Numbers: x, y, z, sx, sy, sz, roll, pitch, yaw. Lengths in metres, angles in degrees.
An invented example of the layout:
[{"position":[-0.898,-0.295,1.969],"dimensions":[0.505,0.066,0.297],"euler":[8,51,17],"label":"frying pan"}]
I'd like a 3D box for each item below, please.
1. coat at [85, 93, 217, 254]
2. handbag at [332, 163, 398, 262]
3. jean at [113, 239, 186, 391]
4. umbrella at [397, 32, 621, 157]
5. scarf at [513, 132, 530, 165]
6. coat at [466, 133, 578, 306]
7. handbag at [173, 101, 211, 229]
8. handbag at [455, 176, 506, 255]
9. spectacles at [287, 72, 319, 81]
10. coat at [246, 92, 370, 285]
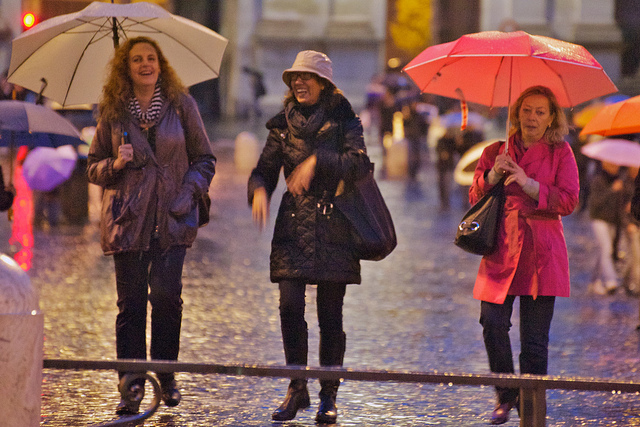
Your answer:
[{"position":[-1.547,-0.363,12.729],"dimensions":[1.254,1.409,0.773],"euler":[2,7,-7],"label":"coat"},{"position":[0.394,0.053,12.512],"dimensions":[0.543,0.694,0.189],"euler":[1,2,-19],"label":"handbag"},{"position":[-1.533,0.748,12.524],"dimensions":[0.627,1.050,0.259],"euler":[2,1,-8],"label":"jean"},{"position":[1.677,-1.275,12.508],"dimensions":[1.405,0.752,1.382],"euler":[15,-7,8],"label":"umbrella"},{"position":[1.753,-0.578,12.541],"dimensions":[0.090,0.219,0.161],"euler":[-6,7,-19],"label":"scarf"},{"position":[1.720,0.052,12.778],"dimensions":[0.990,1.397,1.226],"euler":[1,-1,1],"label":"coat"},{"position":[-1.137,-0.408,12.882],"dimensions":[0.112,1.157,0.476],"euler":[-8,10,-19],"label":"handbag"},{"position":[1.326,0.005,12.566],"dimensions":[0.367,0.719,0.562],"euler":[0,-2,-1],"label":"handbag"},{"position":[-0.185,-1.192,12.498],"dimensions":[0.284,0.070,0.094],"euler":[3,2,32],"label":"spectacles"},{"position":[-0.126,-0.111,12.636],"dimensions":[1.135,2.138,0.866],"euler":[-1,-9,3],"label":"coat"}]
